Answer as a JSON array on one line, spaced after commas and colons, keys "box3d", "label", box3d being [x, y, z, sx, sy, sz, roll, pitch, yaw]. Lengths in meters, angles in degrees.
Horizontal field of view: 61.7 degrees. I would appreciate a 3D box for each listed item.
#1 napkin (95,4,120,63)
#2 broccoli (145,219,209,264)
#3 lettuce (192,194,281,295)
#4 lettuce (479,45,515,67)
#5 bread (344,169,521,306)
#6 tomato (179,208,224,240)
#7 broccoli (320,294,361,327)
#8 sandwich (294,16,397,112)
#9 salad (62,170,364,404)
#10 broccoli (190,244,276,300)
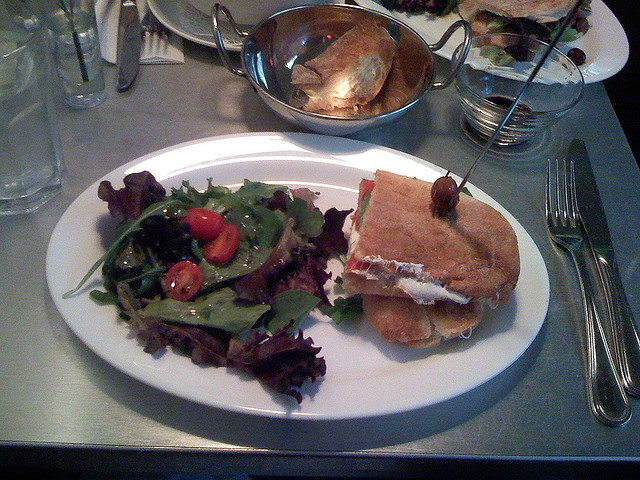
[{"box3d": [-1.011, -0.997, 2.555, 0.109, 0.048, 0.410, -9, 58, -17], "label": "napkin"}, {"box3d": [-0.504, 0.014, 1.821, 0.165, 0.149, 0.053, -14, 38, 17], "label": "broccoli"}, {"box3d": [-0.355, -0.009, 1.898, 0.489, 0.082, 0.337, -21, 40, -12], "label": "lettuce"}, {"box3d": [0.834, -0.841, 2.488, 0.136, 0.027, 0.088, 36, 90, 15], "label": "lettuce"}, {"box3d": [0.409, 0.018, 1.876, 0.562, 0.221, 0.439, 14, 60, 4], "label": "bread"}, {"box3d": [-0.420, -0.044, 1.880, 0.127, 0.069, 0.092, 22, 48, -3], "label": "tomato"}, {"box3d": [0.095, 0.236, 1.876, 0.115, 0.035, 0.187, -3, 17, 4], "label": "broccoli"}, {"box3d": [0.149, -0.723, 2.374, 0.421, 0.127, 0.344, -32, 71, 6], "label": "sandwich"}, {"box3d": [-0.340, 0.125, 1.799, 0.867, 0.149, 0.756, -2, 63, -9], "label": "salad"}, {"box3d": [-0.297, 0.109, 1.832, 0.237, 0.037, 0.148, -24, 51, -27], "label": "broccoli"}]
